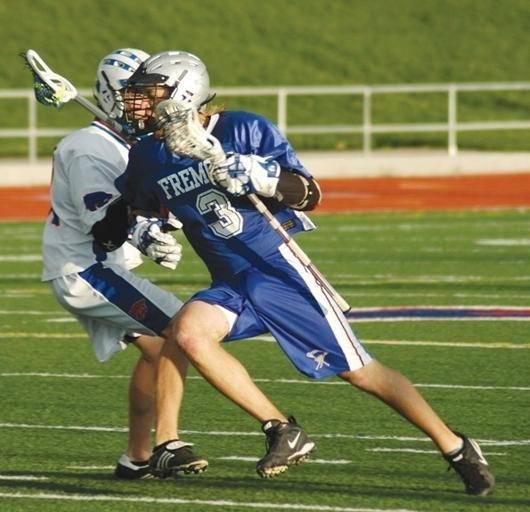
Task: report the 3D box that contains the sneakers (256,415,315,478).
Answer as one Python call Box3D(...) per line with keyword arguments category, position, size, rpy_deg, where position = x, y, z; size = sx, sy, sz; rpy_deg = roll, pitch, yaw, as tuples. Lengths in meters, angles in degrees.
Box3D(category="sneakers", position=(0.077, 0.736, 3.397), size=(0.209, 0.208, 0.200), rpy_deg=(-2, 12, 5))

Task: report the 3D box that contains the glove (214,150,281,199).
Box3D(category="glove", position=(-0.080, -0.307, 3.354), size=(0.266, 0.163, 0.082), rpy_deg=(-3, 13, -2))

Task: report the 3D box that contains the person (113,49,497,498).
Box3D(category="person", position=(-0.111, 0.028, 3.492), size=(1.424, 1.713, 0.783), rpy_deg=(6, 17, 36))
